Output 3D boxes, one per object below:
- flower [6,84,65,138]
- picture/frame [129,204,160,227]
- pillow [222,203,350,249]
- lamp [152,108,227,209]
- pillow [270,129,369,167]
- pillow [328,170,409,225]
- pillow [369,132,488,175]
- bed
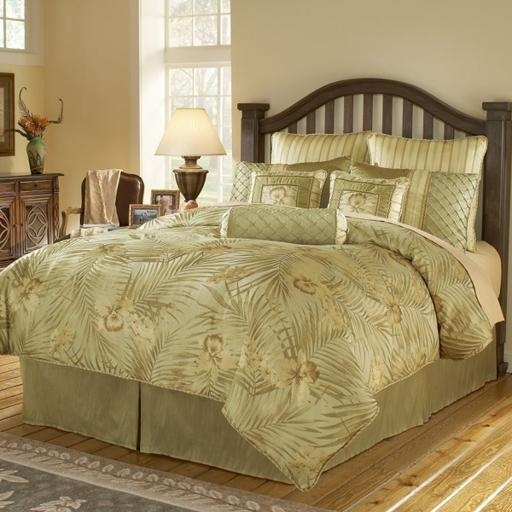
[{"bbox_3d":[-2.052,-1.250,4.798,0.504,0.397,0.277,-4,1,-6],"label":"flower"},{"bbox_3d":[-0.774,-0.282,3.523,0.288,0.173,0.026,1,2,14],"label":"picture/frame"},{"bbox_3d":[0.139,-0.148,2.236,0.557,0.158,0.176,5,18,33],"label":"pillow"},{"bbox_3d":[-0.490,-0.706,3.860,0.585,0.734,0.505,0,14,-15],"label":"lamp"},{"bbox_3d":[0.424,-0.694,3.336,0.431,0.224,0.082,3,1,27],"label":"pillow"},{"bbox_3d":[0.609,-0.311,2.707,0.435,0.271,0.132,7,-18,43],"label":"pillow"},{"bbox_3d":[0.998,-0.582,2.945,0.380,0.198,0.062,5,-22,26],"label":"pillow"},{"bbox_3d":[0.226,0.125,2.188,1.422,0.915,1.619,3,6,40],"label":"bed"}]
